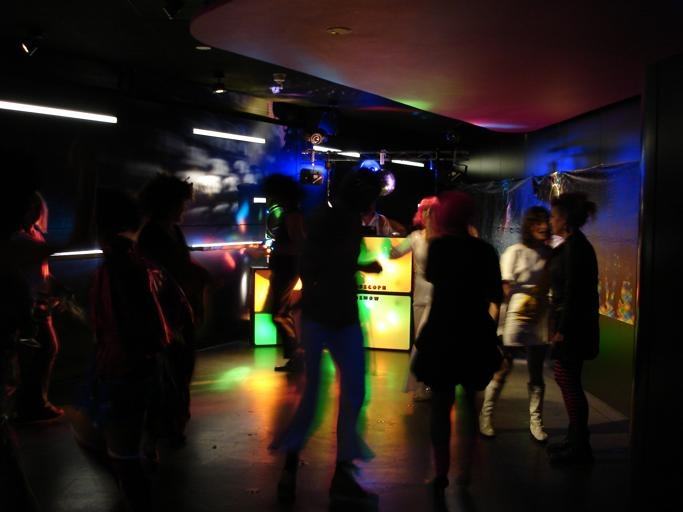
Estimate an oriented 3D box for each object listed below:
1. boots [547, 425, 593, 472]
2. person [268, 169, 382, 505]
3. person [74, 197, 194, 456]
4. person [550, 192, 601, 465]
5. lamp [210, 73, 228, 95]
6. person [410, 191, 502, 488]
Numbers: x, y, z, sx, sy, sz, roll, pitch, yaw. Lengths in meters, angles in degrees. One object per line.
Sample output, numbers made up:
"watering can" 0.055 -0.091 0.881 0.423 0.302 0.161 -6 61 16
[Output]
"boots" 1.856 1.600 4.547 0.425 0.408 0.227 6 -7 17
"person" -0.098 0.562 4.002 0.744 2.361 0.639 1 11 2
"person" -1.572 0.598 4.048 0.637 2.140 0.707 -5 13 -27
"person" 1.924 0.588 4.536 0.419 2.163 0.597 3 11 9
"lamp" -1.657 -2.302 7.307 0.221 0.303 0.222 0 9 6
"person" 0.844 0.659 4.000 0.603 2.180 0.396 3 11 11
